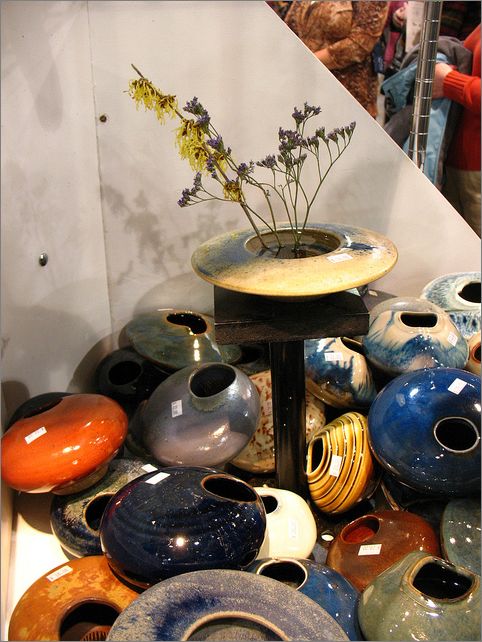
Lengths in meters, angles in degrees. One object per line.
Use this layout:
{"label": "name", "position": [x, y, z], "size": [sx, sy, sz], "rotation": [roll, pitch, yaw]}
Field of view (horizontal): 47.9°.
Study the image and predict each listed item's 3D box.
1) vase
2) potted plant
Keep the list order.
{"label": "vase", "position": [0.028, 0.119, 1.942], "size": [1.572, 0.692, 1.169], "rotation": [-5, 19, 0]}
{"label": "potted plant", "position": [0.079, -0.308, 1.377], "size": [0.667, 0.463, 0.567], "rotation": [9, 28, 14]}
